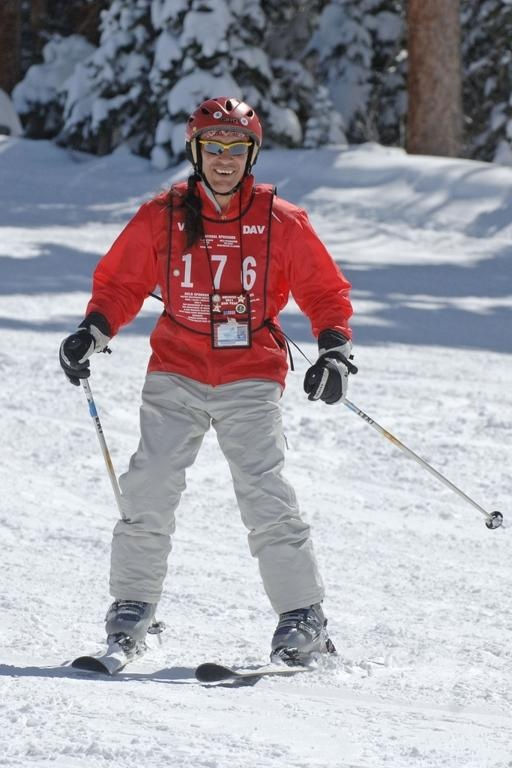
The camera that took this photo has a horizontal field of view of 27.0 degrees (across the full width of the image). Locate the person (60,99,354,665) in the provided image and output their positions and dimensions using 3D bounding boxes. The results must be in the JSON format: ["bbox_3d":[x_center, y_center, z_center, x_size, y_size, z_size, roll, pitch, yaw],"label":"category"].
[{"bbox_3d":[-0.132,-0.053,3.352,0.955,1.805,0.509,7,0,-10],"label":"person"}]

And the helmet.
[{"bbox_3d":[-0.112,-0.809,3.561,0.255,0.253,0.293,3,-19,-8],"label":"helmet"}]

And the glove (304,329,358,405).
[{"bbox_3d":[0.227,-0.054,3.414,0.177,0.109,0.240,19,34,-18],"label":"glove"}]

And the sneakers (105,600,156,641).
[{"bbox_3d":[-0.377,0.701,3.175,0.141,0.118,0.119,6,0,-6],"label":"sneakers"}]
